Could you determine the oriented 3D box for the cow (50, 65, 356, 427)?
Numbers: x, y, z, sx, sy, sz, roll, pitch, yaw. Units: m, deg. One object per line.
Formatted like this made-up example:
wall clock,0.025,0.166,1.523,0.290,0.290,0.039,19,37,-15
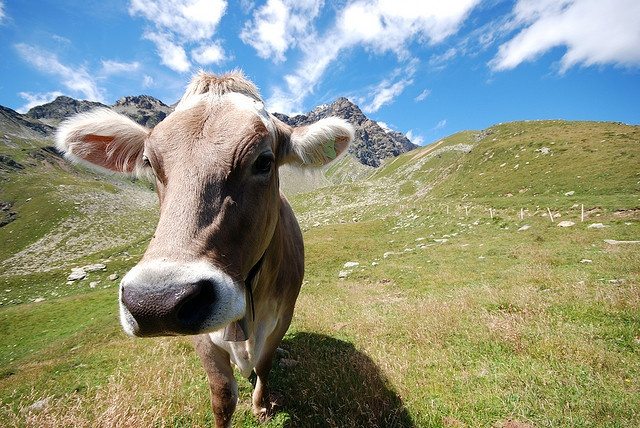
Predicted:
cow,-2.522,1.231,10.002,6.276,7.104,3.233,-14,8,-21
